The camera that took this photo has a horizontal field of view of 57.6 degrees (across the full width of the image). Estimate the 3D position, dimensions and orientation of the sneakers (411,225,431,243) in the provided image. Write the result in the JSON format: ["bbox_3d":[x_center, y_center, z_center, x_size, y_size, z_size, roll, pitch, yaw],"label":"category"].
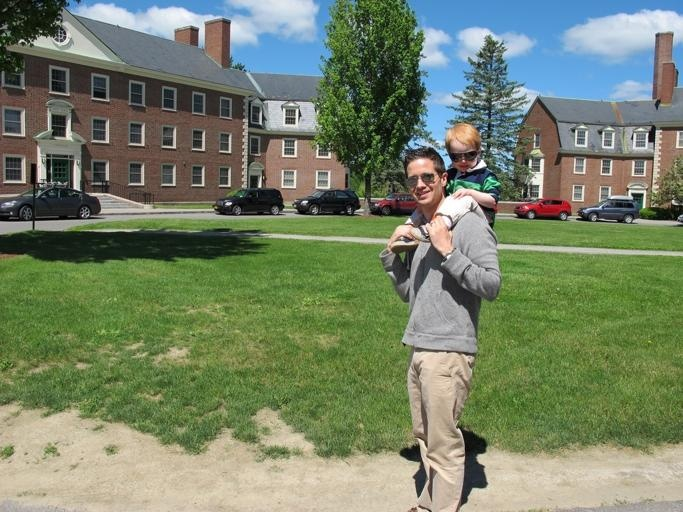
[{"bbox_3d":[0.626,-0.171,4.831,0.160,0.129,0.110,4,6,31],"label":"sneakers"}]

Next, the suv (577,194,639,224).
[{"bbox_3d":[19.378,-3.337,44.780,4.120,2.066,1.879,3,3,10],"label":"suv"}]

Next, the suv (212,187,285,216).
[{"bbox_3d":[-5.378,-3.094,36.104,3.857,1.426,1.713,-1,2,-41],"label":"suv"}]

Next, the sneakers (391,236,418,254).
[{"bbox_3d":[0.489,-0.092,4.925,0.225,0.106,0.092,-4,-3,2],"label":"sneakers"}]

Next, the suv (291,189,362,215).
[{"bbox_3d":[-0.801,-3.368,38.741,4.139,1.567,1.053,-3,6,-37],"label":"suv"}]

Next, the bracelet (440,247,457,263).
[{"bbox_3d":[0.815,0.008,4.712,0.103,0.032,0.104,-47,14,-32],"label":"bracelet"}]

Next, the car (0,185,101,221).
[{"bbox_3d":[-12.326,-2.210,26.224,1.494,1.408,4.428,2,5,17],"label":"car"}]

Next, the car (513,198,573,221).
[{"bbox_3d":[14.740,-3.398,45.525,3.187,1.350,1.873,4,3,2],"label":"car"}]

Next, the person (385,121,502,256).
[{"bbox_3d":[0.977,-0.642,5.731,1.161,1.202,0.717,-1,3,-35],"label":"person"}]
